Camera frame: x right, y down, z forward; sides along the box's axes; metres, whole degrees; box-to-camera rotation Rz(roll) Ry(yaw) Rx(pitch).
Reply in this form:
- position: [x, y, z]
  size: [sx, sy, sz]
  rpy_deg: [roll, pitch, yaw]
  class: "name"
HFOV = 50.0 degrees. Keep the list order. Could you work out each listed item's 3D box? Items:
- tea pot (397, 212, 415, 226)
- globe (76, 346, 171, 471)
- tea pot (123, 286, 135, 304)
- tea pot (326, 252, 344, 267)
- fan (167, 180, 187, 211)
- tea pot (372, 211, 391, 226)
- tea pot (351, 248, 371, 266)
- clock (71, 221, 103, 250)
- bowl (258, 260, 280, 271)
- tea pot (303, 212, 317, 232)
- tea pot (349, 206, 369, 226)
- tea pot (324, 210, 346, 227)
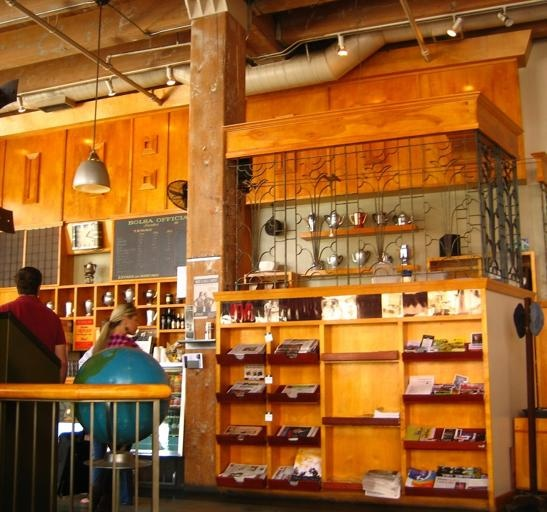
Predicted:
- position: [1.585, -0.440, 7.037]
  size: [0.174, 0.082, 0.199]
  rpy_deg: [0, -5, 12]
  class: "tea pot"
- position: [-0.684, 0.664, 2.651]
  size: [0.472, 0.488, 0.457]
  rpy_deg: [1, -14, -6]
  class: "globe"
- position: [-1.999, 0.548, 8.093]
  size: [0.176, 0.179, 0.092]
  rpy_deg: [-8, -12, 31]
  class: "tea pot"
- position: [0.744, 0.059, 7.227]
  size: [0.210, 0.187, 0.130]
  rpy_deg: [1, -3, 22]
  class: "tea pot"
- position: [-1.025, -0.645, 6.261]
  size: [0.192, 0.375, 0.396]
  rpy_deg: [0, -11, -10]
  class: "fan"
- position: [1.309, -0.450, 7.084]
  size: [0.170, 0.142, 0.206]
  rpy_deg: [-2, -5, 25]
  class: "tea pot"
- position: [1.041, 0.029, 7.120]
  size: [0.275, 0.243, 0.178]
  rpy_deg: [-1, -14, -4]
  class: "tea pot"
- position: [-2.732, -0.291, 8.555]
  size: [0.469, 0.419, 0.432]
  rpy_deg: [0, 1, 33]
  class: "clock"
- position: [-0.079, 0.124, 7.222]
  size: [0.173, 0.100, 0.169]
  rpy_deg: [0, -6, 0]
  class: "bowl"
- position: [0.482, -0.417, 7.299]
  size: [0.213, 0.269, 0.181]
  rpy_deg: [2, 0, 22]
  class: "tea pot"
- position: [1.045, -0.480, 7.256]
  size: [0.193, 0.146, 0.205]
  rpy_deg: [-1, -2, 0]
  class: "tea pot"
- position: [0.711, -0.395, 7.160]
  size: [0.312, 0.305, 0.190]
  rpy_deg: [-2, -1, 35]
  class: "tea pot"
